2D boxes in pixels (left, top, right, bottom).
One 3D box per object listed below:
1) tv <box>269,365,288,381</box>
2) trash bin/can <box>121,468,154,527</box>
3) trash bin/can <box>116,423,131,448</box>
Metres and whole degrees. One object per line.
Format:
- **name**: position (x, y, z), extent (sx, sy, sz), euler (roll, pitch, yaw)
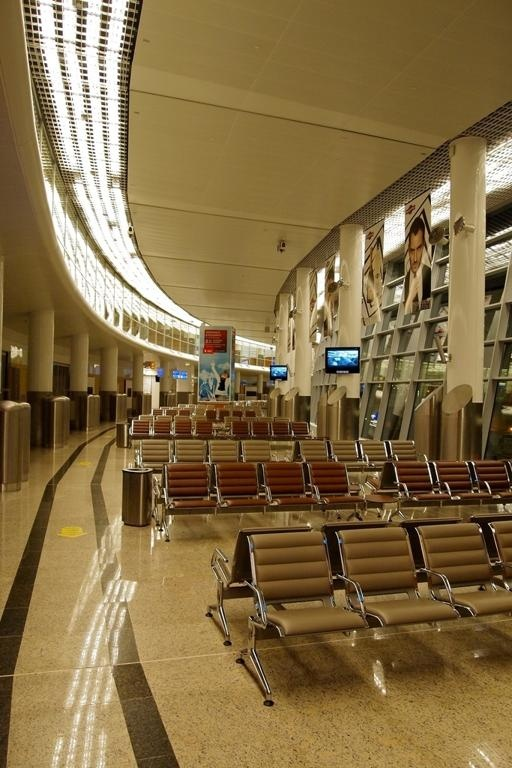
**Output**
- **tv**: position (1.187, -0.618, 26.438), extent (1.143, 1.283, 0.687), euler (2, 4, 11)
- **trash bin/can**: position (-1.585, 1.534, 6.421), extent (0.390, 0.779, 0.562), euler (3, -5, -14)
- **trash bin/can**: position (-4.548, 1.771, 16.435), extent (0.533, 0.847, 0.578), euler (2, -5, 7)
